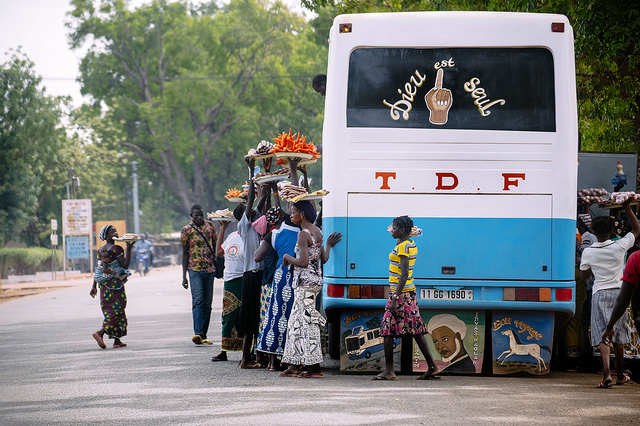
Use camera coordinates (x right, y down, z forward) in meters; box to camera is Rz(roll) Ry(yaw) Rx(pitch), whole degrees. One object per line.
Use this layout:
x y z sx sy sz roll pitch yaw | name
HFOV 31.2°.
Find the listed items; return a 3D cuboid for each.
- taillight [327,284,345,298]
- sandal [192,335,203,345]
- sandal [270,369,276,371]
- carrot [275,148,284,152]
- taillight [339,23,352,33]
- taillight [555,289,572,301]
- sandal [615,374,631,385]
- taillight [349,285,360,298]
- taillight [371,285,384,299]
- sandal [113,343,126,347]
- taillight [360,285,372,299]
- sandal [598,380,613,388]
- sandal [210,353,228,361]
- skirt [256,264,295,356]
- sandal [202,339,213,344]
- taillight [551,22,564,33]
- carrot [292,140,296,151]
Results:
0.330 1.549 22.789 0.264 0.185 0.255 1 -1 -17 | taillight
-2.764 2.891 26.106 0.186 0.261 0.249 -1 7 1 | sandal
-0.971 3.243 23.756 0.103 0.033 0.058 0 7 8 | sandal
-0.817 -1.288 23.413 0.146 0.064 0.008 1 8 15 | carrot
0.516 -3.686 22.943 0.220 0.197 0.065 -1 1 1 | taillight
4.771 1.609 22.631 0.248 0.167 0.020 0 -4 0 | taillight
6.121 3.342 23.017 0.105 0.246 0.083 45 -14 -30 | sandal
0.689 1.557 22.800 0.289 0.268 0.210 0 -4 1 | taillight
1.148 1.554 22.775 0.291 0.268 0.066 -3 1 1 | taillight
-4.586 3.031 26.387 0.253 0.060 0.123 -2 7 -11 | sandal
0.925 1.567 22.657 0.256 0.237 0.063 -3 2 -4 | taillight
5.640 3.372 22.696 0.391 0.145 0.134 -7 9 -42 | sandal
-2.151 3.110 24.739 0.362 0.144 0.120 5 -5 -9 | sandal
-0.800 1.964 23.504 0.786 1.852 0.662 3 4 18 | skirt
-2.541 2.945 26.401 0.194 0.135 0.322 0 7 7 | sandal
4.702 -3.683 22.832 0.298 0.201 0.069 3 -1 5 | taillight
-0.513 -1.359 23.415 0.042 0.175 0.103 1 8 18 | carrot
